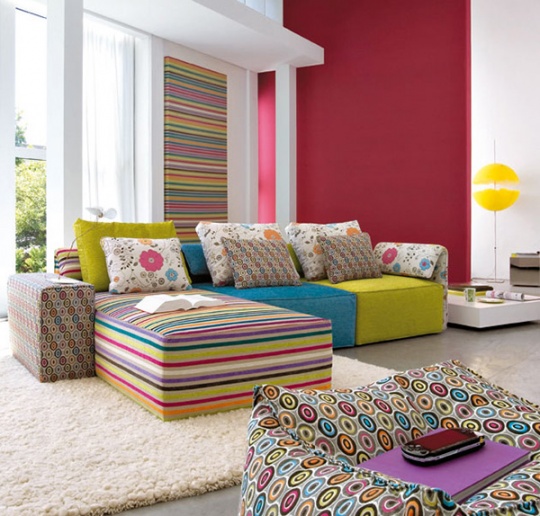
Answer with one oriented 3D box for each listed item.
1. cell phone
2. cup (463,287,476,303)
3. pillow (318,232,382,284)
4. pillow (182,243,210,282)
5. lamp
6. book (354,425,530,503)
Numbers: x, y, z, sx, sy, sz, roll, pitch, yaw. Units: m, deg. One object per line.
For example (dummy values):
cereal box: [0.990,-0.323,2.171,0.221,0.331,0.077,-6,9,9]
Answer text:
cell phone: [0.337,0.345,0.935,0.139,0.030,0.061,-6,8,-35]
cup: [1.882,0.357,4.567,0.131,0.213,0.123,0,-1,0]
pillow: [0.648,-0.027,4.109,0.517,0.423,0.156,-6,-23,-33]
pillow: [-0.631,0.037,3.954,0.295,0.271,0.114,-15,-1,-22]
lamp: [3.666,-0.816,7.840,0.741,2.337,0.813,2,4,25]
book: [0.357,0.376,0.921,0.332,0.059,0.187,-1,3,-31]
